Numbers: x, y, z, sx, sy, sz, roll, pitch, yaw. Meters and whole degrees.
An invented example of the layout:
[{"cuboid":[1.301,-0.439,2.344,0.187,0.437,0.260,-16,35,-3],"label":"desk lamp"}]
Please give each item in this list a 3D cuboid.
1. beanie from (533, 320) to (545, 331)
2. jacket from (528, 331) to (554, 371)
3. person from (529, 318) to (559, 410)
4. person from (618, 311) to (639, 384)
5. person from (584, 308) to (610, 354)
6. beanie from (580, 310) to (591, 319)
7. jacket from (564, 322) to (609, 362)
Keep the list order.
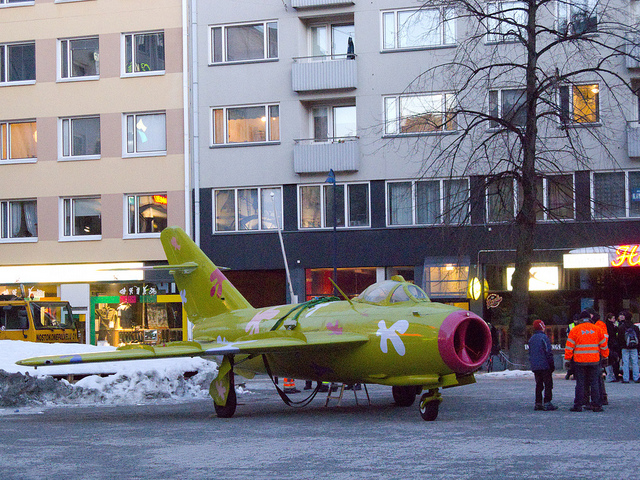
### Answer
[{"cuboid":[6.394,2.565,41.718,0.247,0.361,0.334,5,17,37],"label":"beanie"},{"cuboid":[6.435,3.299,41.391,0.641,1.141,0.465,-3,-2,7],"label":"jacket"},{"cuboid":[6.490,3.712,41.393,0.696,2.602,0.483,-3,-2,10],"label":"person"},{"cuboid":[10.483,3.735,48.118,0.675,1.650,0.851,-3,-2,4],"label":"person"},{"cuboid":[8.087,2.793,42.168,0.509,1.381,1.114,-1,1,27],"label":"person"},{"cuboid":[7.765,2.243,41.661,0.220,0.267,0.258,-2,3,14],"label":"beanie"},{"cuboid":[7.792,3.099,41.541,1.336,1.307,0.690,-2,-12,7],"label":"jacket"}]
